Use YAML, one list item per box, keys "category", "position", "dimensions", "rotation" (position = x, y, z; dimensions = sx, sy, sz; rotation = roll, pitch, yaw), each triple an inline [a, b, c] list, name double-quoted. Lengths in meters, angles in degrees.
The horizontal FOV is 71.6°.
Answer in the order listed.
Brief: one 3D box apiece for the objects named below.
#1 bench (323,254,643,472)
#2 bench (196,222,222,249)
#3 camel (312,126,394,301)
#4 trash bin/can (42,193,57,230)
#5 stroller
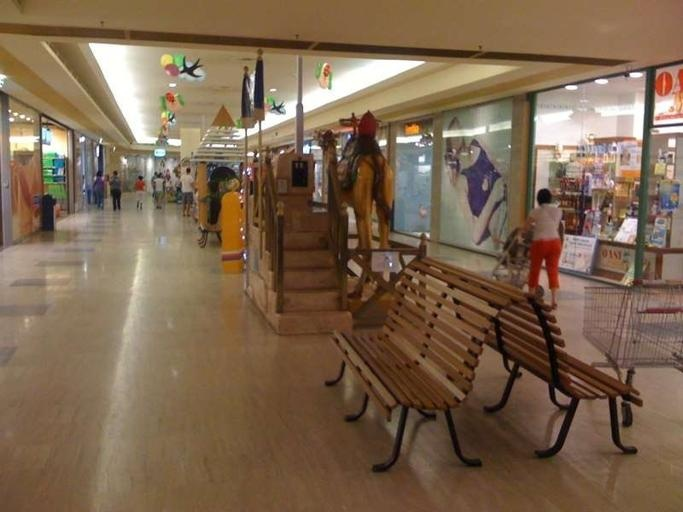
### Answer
- category: "bench"
  position: [0.943, 0.739, 4.003]
  dimensions: [2.029, 1.093, 2.284]
  rotation: [-1, 3, -14]
- category: "bench"
  position: [-3.460, -0.570, 12.396]
  dimensions: [0.547, 0.371, 1.278]
  rotation: [-1, 9, -11]
- category: "camel"
  position: [0.215, -0.754, 6.549]
  dimensions: [0.981, 2.482, 1.053]
  rotation: [-1, 15, -39]
- category: "trash bin/can"
  position: [-9.566, -1.405, 15.455]
  dimensions: [0.400, 1.120, 0.626]
  rotation: [-5, 10, -35]
- category: "stroller"
  position: [3.006, 0.011, 8.354]
  dimensions: [0.757, 1.413, 0.863]
  rotation: [0, 12, -20]
